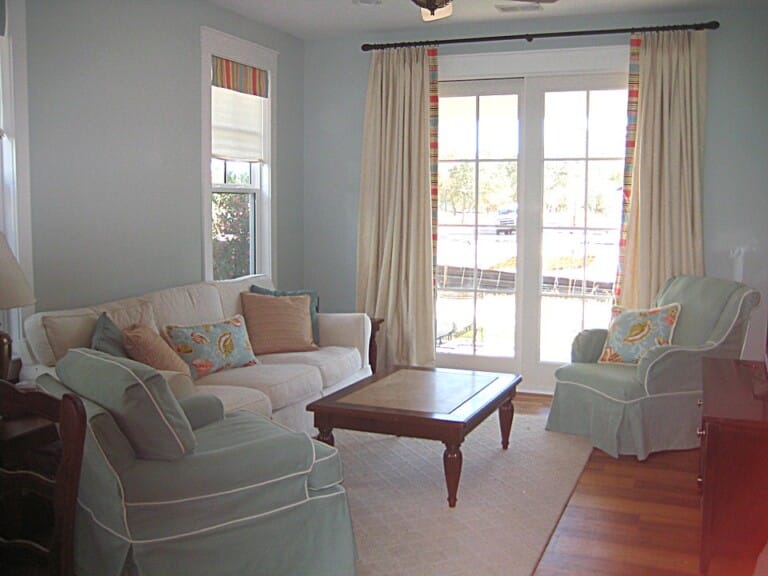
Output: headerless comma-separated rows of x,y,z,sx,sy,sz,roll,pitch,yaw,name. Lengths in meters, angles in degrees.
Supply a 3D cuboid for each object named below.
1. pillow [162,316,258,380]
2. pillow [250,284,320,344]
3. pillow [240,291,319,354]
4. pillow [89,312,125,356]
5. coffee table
-1.122,0.412,3.999,0.215,0.395,0.631,-13,-5,31,pillow
-0.724,0.211,4.828,0.459,0.487,0.184,-1,-16,-24,pillow
-0.792,0.261,4.430,0.375,0.345,0.187,-8,7,-23,pillow
-1.547,0.259,3.374,0.064,0.214,0.220,-17,-33,23,pillow
0.169,0.682,3.456,0.721,0.383,0.940,2,9,23,coffee table
